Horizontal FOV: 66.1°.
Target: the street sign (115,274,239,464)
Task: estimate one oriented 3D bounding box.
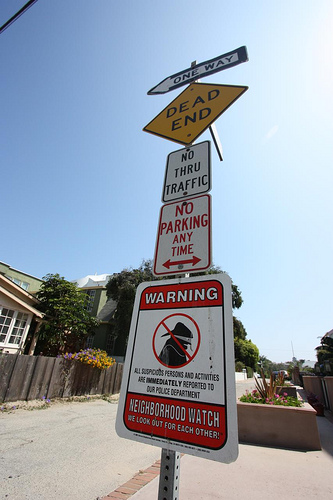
[{"bbox_3d":[0.037,0.384,0.975,0.513,0.598,0.107,-15,-30,37],"label":"street sign"}]

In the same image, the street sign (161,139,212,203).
[{"bbox_3d":[0.122,-0.455,1.510,0.291,0.028,0.432,-18,-26,-6],"label":"street sign"}]

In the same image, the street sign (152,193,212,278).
[{"bbox_3d":[0.081,-0.087,1.287,0.294,0.478,0.024,-9,-35,21],"label":"street sign"}]

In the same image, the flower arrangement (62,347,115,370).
[{"bbox_3d":[-3.366,4.706,11.382,0.874,0.801,2.616,-5,-30,22],"label":"flower arrangement"}]
